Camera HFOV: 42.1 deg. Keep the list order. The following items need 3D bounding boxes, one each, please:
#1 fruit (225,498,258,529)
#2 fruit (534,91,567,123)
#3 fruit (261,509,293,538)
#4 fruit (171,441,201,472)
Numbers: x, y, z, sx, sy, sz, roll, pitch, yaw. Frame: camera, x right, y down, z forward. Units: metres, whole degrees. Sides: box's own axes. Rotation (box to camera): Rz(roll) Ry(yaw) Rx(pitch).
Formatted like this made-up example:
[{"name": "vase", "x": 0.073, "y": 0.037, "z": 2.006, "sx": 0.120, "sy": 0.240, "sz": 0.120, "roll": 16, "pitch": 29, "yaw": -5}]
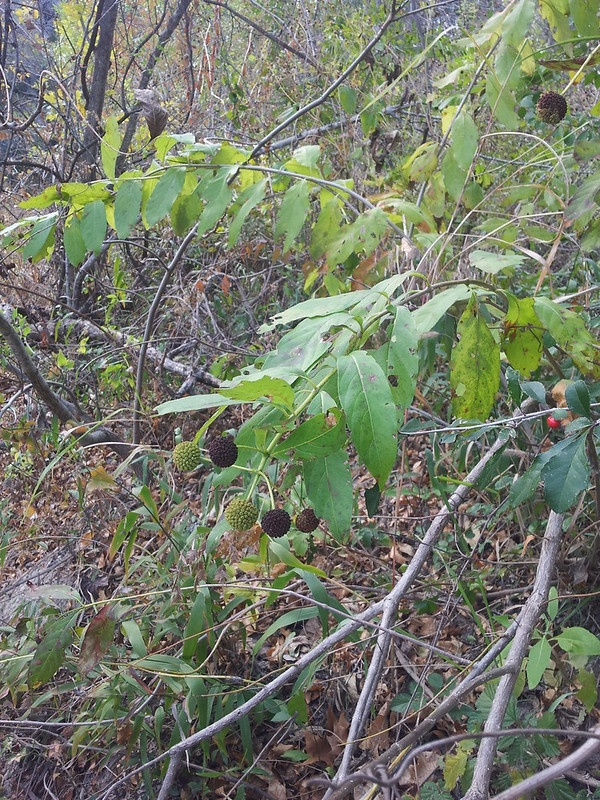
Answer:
[{"name": "fruit", "x": -0.138, "y": 0.290, "z": 1.982, "sx": 0.094, "sy": 0.082, "sz": 0.087, "roll": -3, "pitch": -4, "yaw": -2}, {"name": "fruit", "x": 0.792, "y": -0.934, "z": 2.511, "sx": 0.103, "sy": 0.094, "sz": 0.112, "roll": 2, "pitch": -6, "yaw": 8}, {"name": "fruit", "x": -0.058, "y": 0.308, "z": 1.972, "sx": 0.078, "sy": 0.069, "sz": 0.079, "roll": -3, "pitch": 1, "yaw": -11}, {"name": "fruit", "x": -0.322, "y": 0.167, "z": 2.282, "sx": 0.092, "sy": 0.083, "sz": 0.089, "roll": -1, "pitch": 2, "yaw": 3}]
